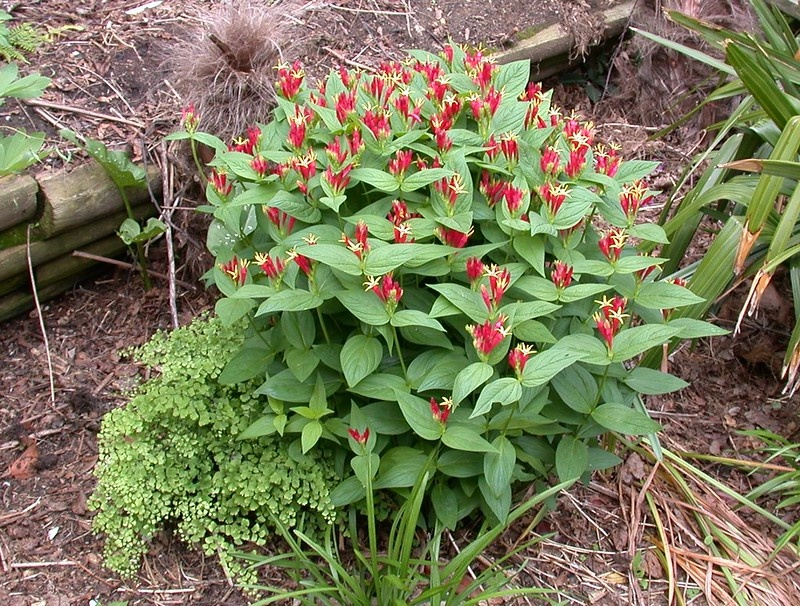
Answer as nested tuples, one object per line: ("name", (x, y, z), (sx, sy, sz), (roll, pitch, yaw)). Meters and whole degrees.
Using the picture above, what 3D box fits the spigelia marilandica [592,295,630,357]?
("spigelia marilandica", (0.813, 0.083, 2.520), (0.126, 0.205, 0.107), (-14, 51, -9))

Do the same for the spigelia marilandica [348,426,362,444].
("spigelia marilandica", (-0.168, 0.518, 2.599), (0.061, 0.036, 0.058), (28, 45, 27))

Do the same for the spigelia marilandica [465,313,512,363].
("spigelia marilandica", (0.321, 0.116, 2.412), (0.176, 0.123, 0.165), (-22, 47, -26))
